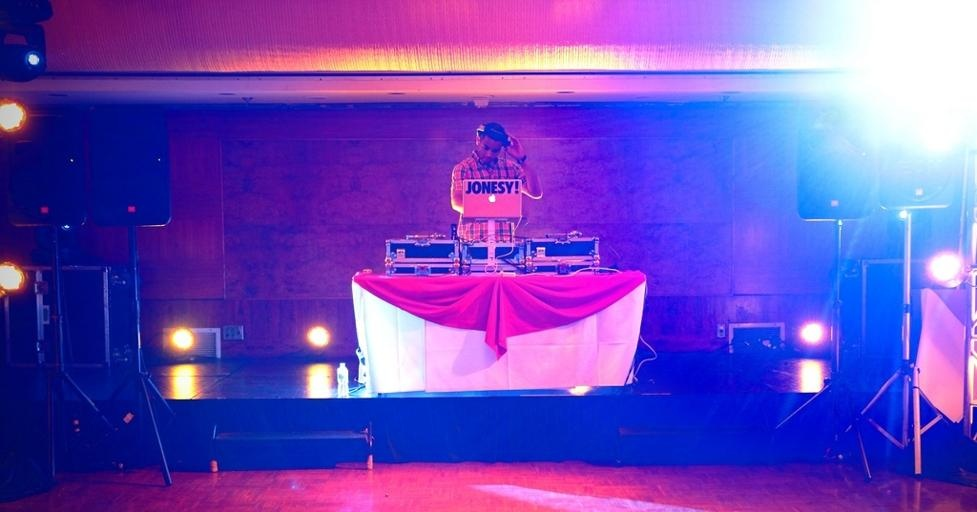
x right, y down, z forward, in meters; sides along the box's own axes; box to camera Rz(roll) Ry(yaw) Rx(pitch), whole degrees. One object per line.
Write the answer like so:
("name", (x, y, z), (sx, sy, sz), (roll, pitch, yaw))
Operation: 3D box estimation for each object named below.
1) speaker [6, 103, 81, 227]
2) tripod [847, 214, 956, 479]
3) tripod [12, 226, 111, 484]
("speaker", (-5.332, -1.036, 11.848), (0.832, 1.415, 0.550), (2, -9, -23))
("tripod", (5.111, 0.930, 11.554), (1.398, 3.221, 1.444), (-8, 17, -5))
("tripod", (-5.045, 1.153, 11.889), (0.525, 2.961, 1.318), (2, -9, -22))
